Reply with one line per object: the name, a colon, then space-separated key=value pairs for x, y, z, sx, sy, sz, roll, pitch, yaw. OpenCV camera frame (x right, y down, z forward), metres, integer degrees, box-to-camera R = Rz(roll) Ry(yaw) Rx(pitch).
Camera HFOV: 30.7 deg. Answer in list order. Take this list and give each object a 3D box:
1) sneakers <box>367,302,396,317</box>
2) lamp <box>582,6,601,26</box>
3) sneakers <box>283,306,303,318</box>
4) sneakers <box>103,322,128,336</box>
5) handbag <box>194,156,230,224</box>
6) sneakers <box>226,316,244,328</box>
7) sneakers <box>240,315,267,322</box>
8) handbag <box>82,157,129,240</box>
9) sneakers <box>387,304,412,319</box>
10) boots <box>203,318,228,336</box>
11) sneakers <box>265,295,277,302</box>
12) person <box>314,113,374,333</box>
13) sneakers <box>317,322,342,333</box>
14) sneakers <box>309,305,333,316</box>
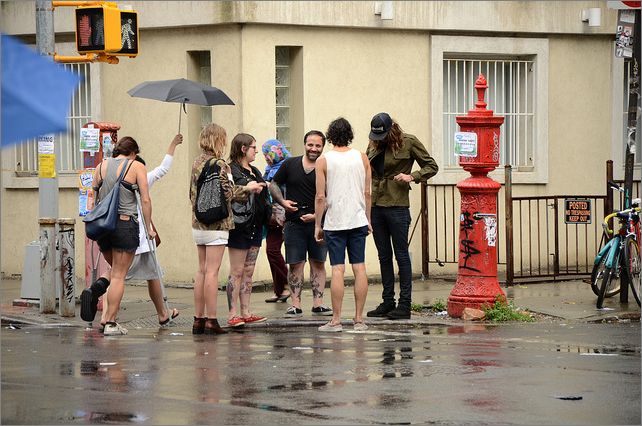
sneakers: x=0.875 y=1.410 z=16.564 sx=0.438 sy=0.190 sz=0.160 roll=1 pitch=-2 yaw=-11
lamp: x=4.747 y=-3.435 z=20.437 sx=0.293 sy=0.297 sz=0.304 roll=0 pitch=2 yaw=-28
sneakers: x=-0.380 y=1.445 z=16.598 sx=0.109 sy=0.133 sz=0.309 roll=-5 pitch=-11 yaw=32
sneakers: x=-2.712 y=1.572 z=15.563 sx=0.310 sy=0.146 sz=0.143 roll=0 pitch=2 yaw=-27
handbag: x=-1.432 y=-0.275 z=15.547 sx=0.428 sy=0.854 sz=0.187 roll=0 pitch=0 yaw=0
sneakers: x=-1.127 y=1.511 z=15.864 sx=0.106 sy=0.098 sz=0.235 roll=3 pitch=-9 yaw=-34
sneakers: x=-0.903 y=1.510 z=16.257 sx=0.301 sy=0.116 sz=0.118 roll=-1 pitch=-2 yaw=-18
handbag: x=-2.801 y=-0.167 z=15.462 sx=0.590 sy=1.050 sz=0.276 roll=0 pitch=0 yaw=-12
sneakers: x=1.126 y=1.424 z=16.420 sx=0.370 sy=0.169 sz=0.138 roll=5 pitch=-6 yaw=-34
boots: x=-1.384 y=1.534 z=15.632 sx=0.316 sy=0.207 sz=0.144 roll=0 pitch=0 yaw=-6
sneakers: x=-0.728 y=1.333 z=17.802 sx=0.078 sy=0.095 sz=0.235 roll=-6 pitch=-12 yaw=32
person: x=0.311 y=0.174 z=15.679 sx=0.743 sy=2.870 sz=0.407 roll=0 pitch=0 yaw=0
sneakers: x=0.134 y=1.569 z=15.744 sx=0.307 sy=0.134 sz=0.122 roll=3 pitch=0 yaw=15
sneakers: x=0.020 y=1.439 z=16.797 sx=0.323 sy=0.131 sz=0.121 roll=-1 pitch=1 yaw=-6
